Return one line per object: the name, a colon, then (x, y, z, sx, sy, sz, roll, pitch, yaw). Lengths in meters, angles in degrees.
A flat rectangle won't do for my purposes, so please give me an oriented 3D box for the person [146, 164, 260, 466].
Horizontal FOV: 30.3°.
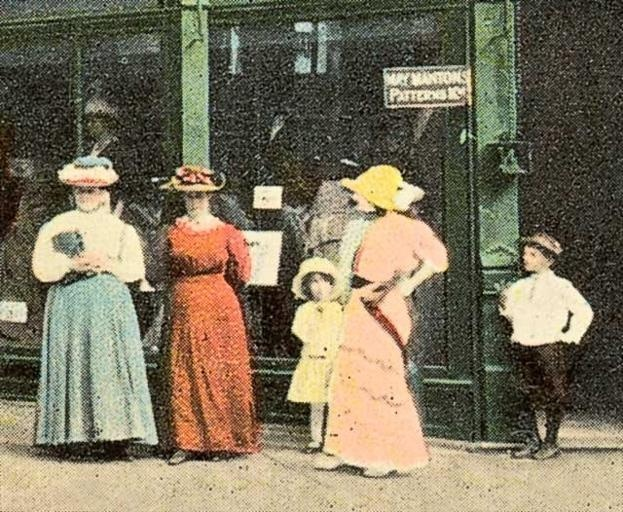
person: (-0.687, 0.401, 7.801, 0.607, 1.952, 0.566, -1, 13, -7)
